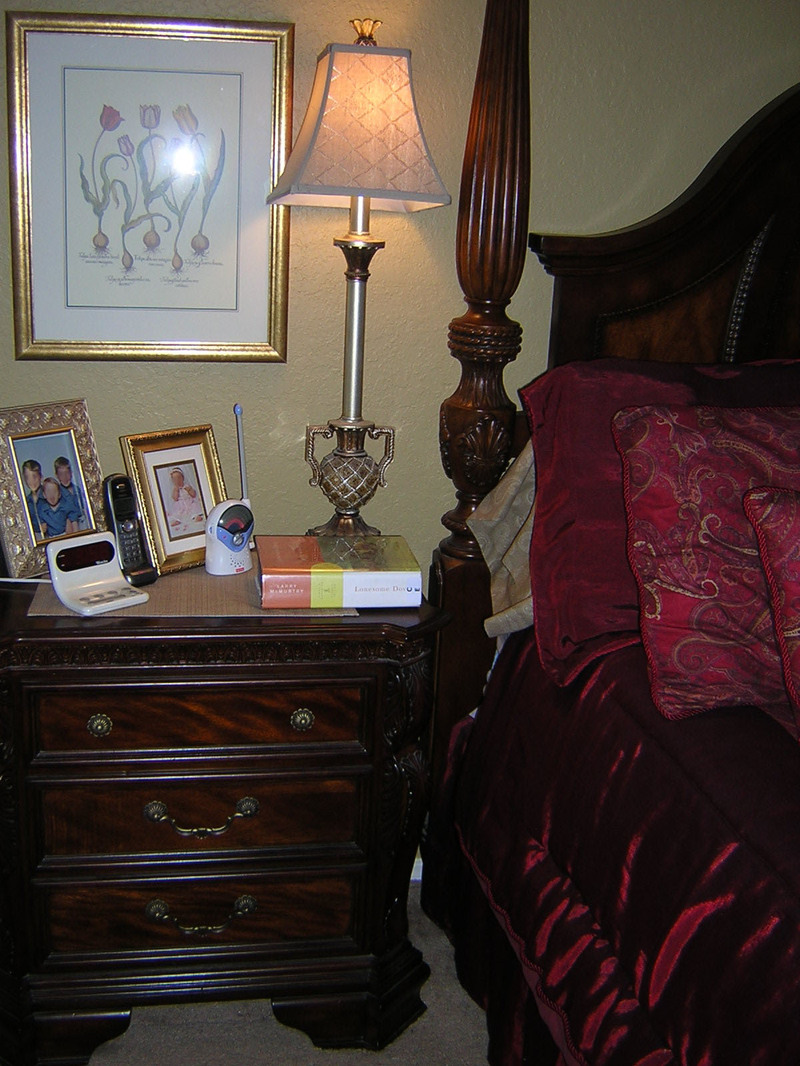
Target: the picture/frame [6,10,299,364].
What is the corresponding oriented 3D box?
[{"bbox_3d":[-0.459,-0.627,1.592,0.579,0.606,0.104,-6,19,-2],"label":"picture/frame"}]
